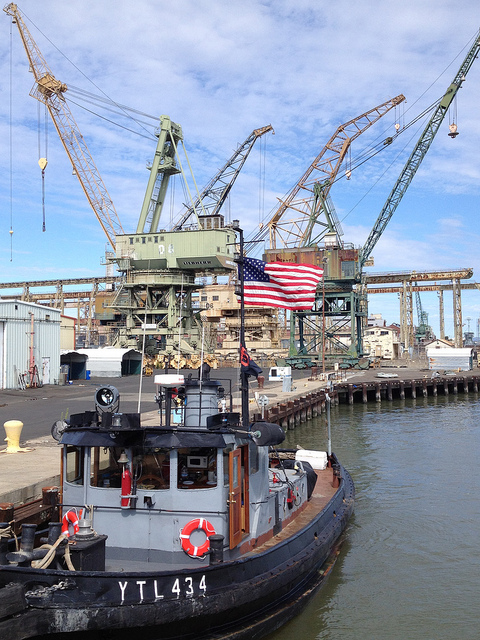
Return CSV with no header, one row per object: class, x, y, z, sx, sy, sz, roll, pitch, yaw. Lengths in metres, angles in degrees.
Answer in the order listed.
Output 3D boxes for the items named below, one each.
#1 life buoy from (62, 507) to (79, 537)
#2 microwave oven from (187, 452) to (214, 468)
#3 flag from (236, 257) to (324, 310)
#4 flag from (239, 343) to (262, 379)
life buoy,-2.685,3.236,12.970,0.229,0.388,0.847,7,1,-13
microwave oven,-0.683,2.329,13.610,0.468,0.291,0.261,-1,-5,11
flag,0.817,-0.719,16.547,1.993,0.964,0.467,6,2,-33
flag,0.188,0.695,14.158,0.401,0.543,0.672,7,1,1
